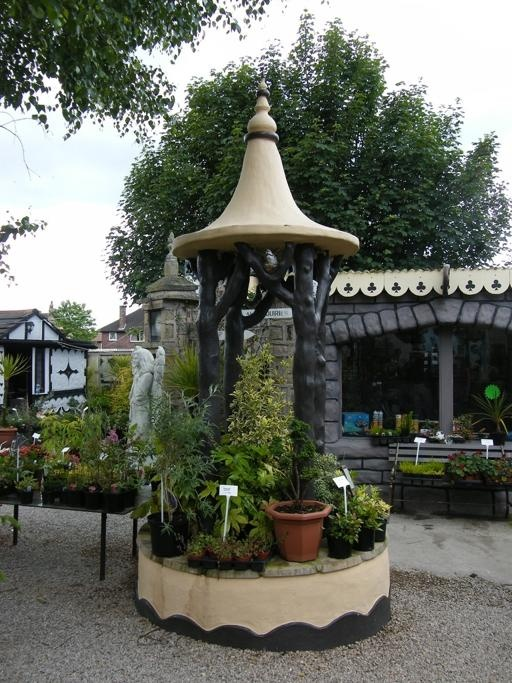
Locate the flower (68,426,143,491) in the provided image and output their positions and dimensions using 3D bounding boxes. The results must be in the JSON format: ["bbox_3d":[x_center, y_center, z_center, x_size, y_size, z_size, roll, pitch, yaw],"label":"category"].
[{"bbox_3d":[-1.312,1.060,5.248,0.591,0.597,0.476,3,6,3],"label":"flower"}]

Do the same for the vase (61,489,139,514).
[{"bbox_3d":[-1.303,1.296,5.015,0.296,0.109,0.319,2,-26,-2],"label":"vase"}]
